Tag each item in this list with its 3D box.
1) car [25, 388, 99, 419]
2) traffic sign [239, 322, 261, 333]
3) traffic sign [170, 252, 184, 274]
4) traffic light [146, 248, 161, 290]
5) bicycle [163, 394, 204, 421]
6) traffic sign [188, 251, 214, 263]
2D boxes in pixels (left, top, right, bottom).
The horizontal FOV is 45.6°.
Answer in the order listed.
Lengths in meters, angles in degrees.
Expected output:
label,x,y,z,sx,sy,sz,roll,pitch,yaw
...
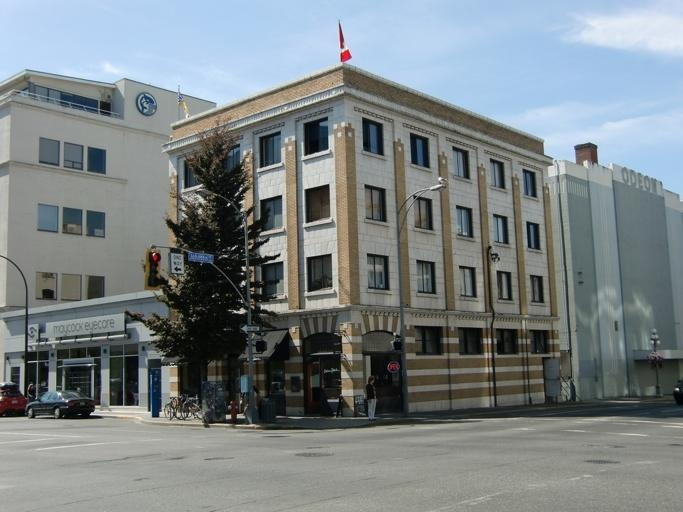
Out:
label,x,y,z,sx,sy,sz,roll,pitch,yaw
car,-17.066,8.967,49.249,3.979,1.654,1.235,-9,-16,23
traffic sign,-4.437,3.452,39.663,0.931,0.406,0.433,0,-15,-10
traffic sign,-7.936,0.300,39.216,0.852,1.155,0.122,18,-32,-41
traffic light,-8.123,0.462,35.037,0.555,1.933,0.842,0,-14,-11
bicycle,-8.343,8.097,43.644,2.363,1.461,1.194,-7,-12,28
traffic sign,-6.811,-0.018,39.294,1.163,0.560,0.734,3,-15,-20
